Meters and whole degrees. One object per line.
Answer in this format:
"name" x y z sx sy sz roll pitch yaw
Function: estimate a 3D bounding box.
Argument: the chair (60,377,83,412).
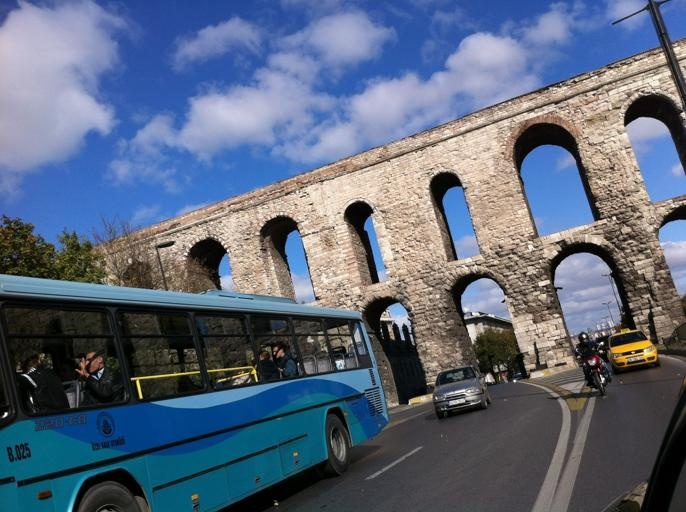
"chair" -3.154 1.599 5.245 0.258 0.462 0.256 -8 -9 34

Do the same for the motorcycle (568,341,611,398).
"motorcycle" 7.514 3.178 13.392 0.804 1.015 1.839 -28 -10 25

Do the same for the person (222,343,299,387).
"person" -1.502 2.015 8.309 0.430 0.555 1.482 -14 -15 26

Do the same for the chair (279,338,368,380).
"chair" -0.543 2.308 10.419 0.652 0.794 3.431 -20 -13 31

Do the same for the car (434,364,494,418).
"car" 3.974 4.473 15.368 1.375 1.221 2.583 -10 -22 13

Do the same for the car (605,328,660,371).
"car" 11.463 3.595 17.801 1.293 1.274 2.659 -12 -28 20
